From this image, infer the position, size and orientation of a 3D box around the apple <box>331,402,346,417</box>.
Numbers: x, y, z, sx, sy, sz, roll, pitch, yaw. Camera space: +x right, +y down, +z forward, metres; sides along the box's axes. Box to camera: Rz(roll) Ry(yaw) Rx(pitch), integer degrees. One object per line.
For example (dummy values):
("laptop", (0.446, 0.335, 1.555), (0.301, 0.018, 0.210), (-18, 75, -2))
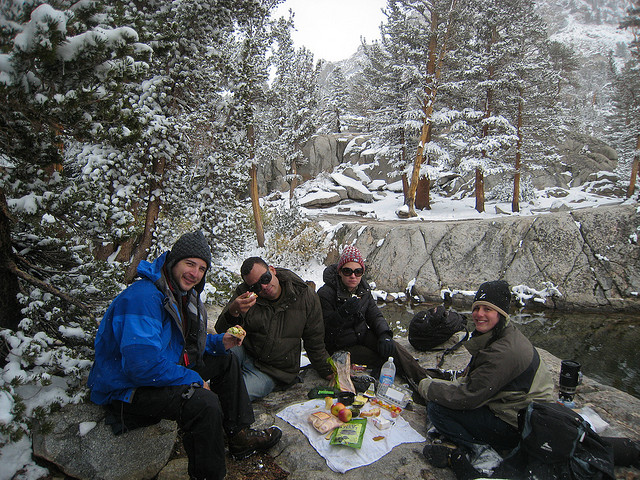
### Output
("apple", (0.248, 2.294, 6.113), (0.145, 0.150, 0.143), (-20, -22, -10))

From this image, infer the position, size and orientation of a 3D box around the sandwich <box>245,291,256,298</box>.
("sandwich", (-0.939, 0.758, 6.158), (0.072, 0.024, 0.072), (-25, 14, 38))

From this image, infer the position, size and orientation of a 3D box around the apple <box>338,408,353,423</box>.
("apple", (0.332, 2.342, 6.024), (0.193, 0.165, 0.099), (8, 7, 39))

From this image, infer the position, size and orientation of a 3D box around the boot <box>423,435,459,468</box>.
("boot", (1.567, 2.693, 5.768), (0.390, 0.250, 0.457), (7, 6, 30))
